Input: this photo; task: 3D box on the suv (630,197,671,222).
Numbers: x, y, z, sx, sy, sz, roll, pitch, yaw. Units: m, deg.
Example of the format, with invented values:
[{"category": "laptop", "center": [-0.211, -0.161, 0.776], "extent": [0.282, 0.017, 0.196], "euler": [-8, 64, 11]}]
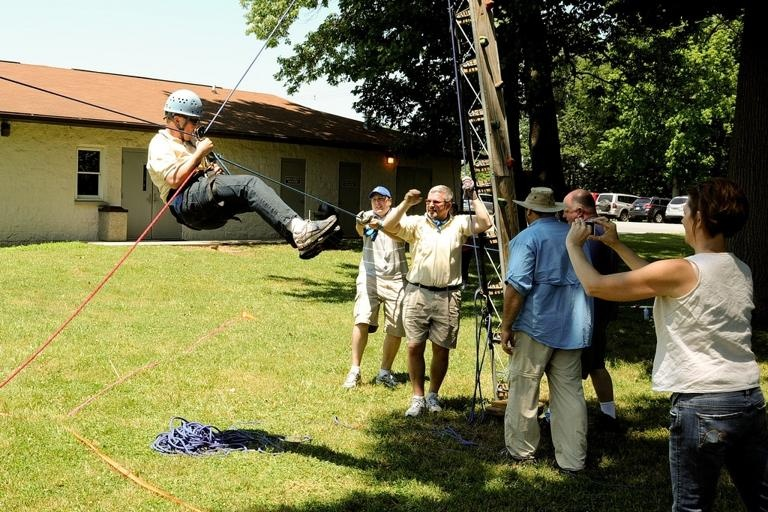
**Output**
[{"category": "suv", "center": [17.102, -2.997, 42.923], "extent": [2.828, 1.081, 1.270], "euler": [-8, 8, -33]}]

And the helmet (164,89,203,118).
[{"category": "helmet", "center": [-2.134, -1.614, 7.131], "extent": [0.353, 0.245, 0.309], "euler": [14, 10, 7]}]

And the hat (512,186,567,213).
[{"category": "hat", "center": [1.709, -0.615, 7.457], "extent": [0.345, 0.119, 0.359], "euler": [-5, 17, -22]}]

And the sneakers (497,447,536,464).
[{"category": "sneakers", "center": [1.425, 2.146, 7.305], "extent": [0.432, 0.177, 0.142], "euler": [-5, -6, 30]}]

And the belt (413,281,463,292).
[{"category": "belt", "center": [0.650, 0.383, 8.409], "extent": [0.635, 0.086, 0.133], "euler": [3, 10, 2]}]

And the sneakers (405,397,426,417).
[{"category": "sneakers", "center": [0.413, 1.867, 8.410], "extent": [0.320, 0.221, 0.220], "euler": [0, 10, -18]}]

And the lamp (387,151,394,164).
[{"category": "lamp", "center": [0.248, -3.534, 24.377], "extent": [0.296, 0.347, 0.242], "euler": [0, -2, -2]}]

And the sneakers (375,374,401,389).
[{"category": "sneakers", "center": [0.103, 1.719, 9.372], "extent": [0.407, 0.210, 0.154], "euler": [5, 19, 3]}]

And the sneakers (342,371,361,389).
[{"category": "sneakers", "center": [-0.443, 1.695, 9.316], "extent": [0.253, 0.162, 0.395], "euler": [3, 10, -1]}]

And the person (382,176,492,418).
[{"category": "person", "center": [0.628, 0.487, 8.467], "extent": [1.184, 2.947, 0.751], "euler": [1, 9, -9]}]
